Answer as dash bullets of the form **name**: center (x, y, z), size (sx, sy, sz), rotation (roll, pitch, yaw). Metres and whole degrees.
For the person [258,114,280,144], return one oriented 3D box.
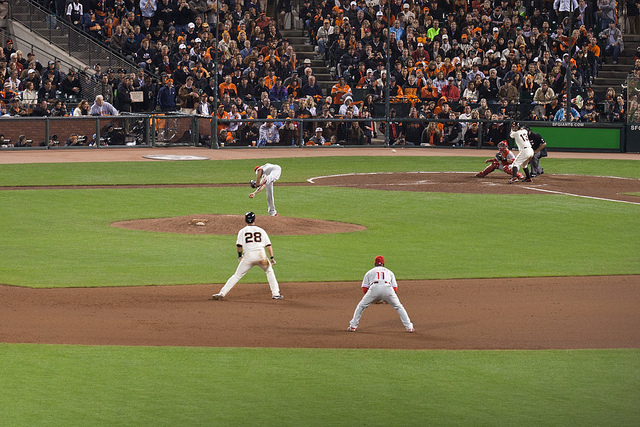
- **person**: center (-2.302, -3.739, 55.366), size (1.177, 1.428, 0.988), rotation (-11, 20, -34)

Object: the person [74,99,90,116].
- **person**: center (-10.293, -4.605, 52.895), size (0.889, 0.730, 0.486), rotation (-5, 21, -38)

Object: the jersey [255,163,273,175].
- **jersey**: center (-1.715, -1.396, 38.194), size (0.431, 0.126, 0.289), rotation (-10, 14, -18)

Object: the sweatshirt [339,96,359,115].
- **sweatshirt**: center (1.284, -5.001, 56.085), size (0.811, 0.895, 0.316), rotation (-1, 6, 1)

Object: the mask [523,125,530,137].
- **mask**: center (7.666, -3.149, 45.527), size (0.289, 0.336, 0.227), rotation (4, 4, 37)

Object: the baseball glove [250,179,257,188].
- **baseball glove**: center (-1.989, -0.920, 36.954), size (0.212, 0.134, 0.484), rotation (-3, -1, -11)

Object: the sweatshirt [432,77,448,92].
- **sweatshirt**: center (5.623, -6.082, 57.139), size (0.637, 0.713, 0.647), rotation (0, 2, 4)

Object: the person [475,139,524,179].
- **person**: center (6.784, -2.023, 46.314), size (1.888, 1.348, 0.980), rotation (2, 0, 14)

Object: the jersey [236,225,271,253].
- **jersey**: center (-1.777, 0.685, 31.457), size (1.099, 0.747, 0.490), rotation (1, 3, -27)

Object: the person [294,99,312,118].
- **person**: center (-0.750, -4.795, 55.312), size (1.030, 0.736, 0.480), rotation (-1, 6, -11)

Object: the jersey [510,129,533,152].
- **jersey**: center (7.470, -2.773, 45.305), size (0.479, 0.742, 0.823), rotation (1, 3, 35)

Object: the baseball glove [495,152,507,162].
- **baseball glove**: center (6.797, -2.136, 45.665), size (0.437, 0.281, 0.237), rotation (0, 2, -2)

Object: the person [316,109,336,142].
- **person**: center (0.329, -4.072, 55.949), size (0.690, 1.438, 1.002), rotation (1, 3, 30)

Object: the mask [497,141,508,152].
- **mask**: center (6.917, -2.520, 45.548), size (0.509, 0.361, 0.380), rotation (4, -2, -20)

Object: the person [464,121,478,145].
- **person**: center (6.944, -3.712, 56.178), size (0.611, 0.997, 0.600), rotation (0, 2, 8)
